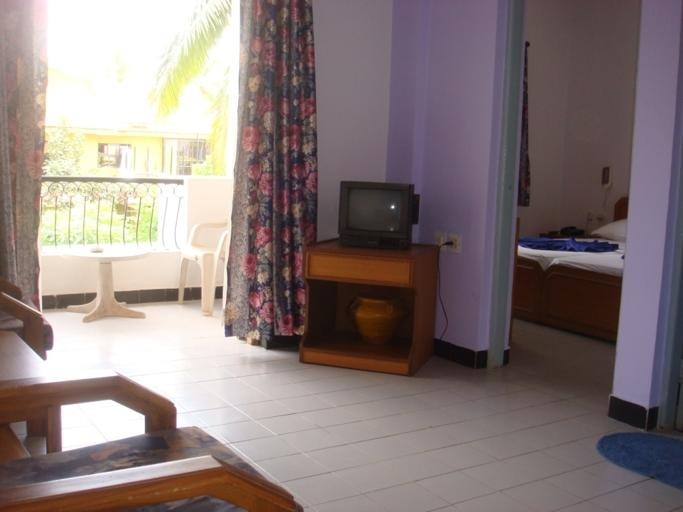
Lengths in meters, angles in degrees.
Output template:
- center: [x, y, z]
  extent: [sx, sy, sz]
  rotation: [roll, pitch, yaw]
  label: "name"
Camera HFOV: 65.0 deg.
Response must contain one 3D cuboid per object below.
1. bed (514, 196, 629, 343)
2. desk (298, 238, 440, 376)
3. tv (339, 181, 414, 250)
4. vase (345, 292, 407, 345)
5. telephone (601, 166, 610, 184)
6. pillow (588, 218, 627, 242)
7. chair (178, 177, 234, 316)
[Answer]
- center: [2.097, 0.065, 4.699]
  extent: [1.091, 0.770, 1.043]
  rotation: [-4, 8, -35]
  label: "bed"
- center: [0.193, 0.370, 3.706]
  extent: [0.785, 0.768, 0.573]
  rotation: [3, 3, 27]
  label: "desk"
- center: [0.294, -0.200, 3.749]
  extent: [0.678, 0.617, 0.390]
  rotation: [0, -3, 13]
  label: "tv"
- center: [0.248, 0.409, 3.677]
  extent: [0.320, 0.237, 0.318]
  rotation: [0, 2, -41]
  label: "vase"
- center: [3.410, -1.039, 6.949]
  extent: [0.105, 0.240, 0.032]
  rotation: [3, 10, 5]
  label: "telephone"
- center: [3.193, -0.313, 6.441]
  extent: [0.361, 0.115, 0.376]
  rotation: [-19, 11, 23]
  label: "pillow"
- center: [-1.130, -0.080, 5.093]
  extent: [0.617, 1.115, 0.602]
  rotation: [8, 1, 43]
  label: "chair"
